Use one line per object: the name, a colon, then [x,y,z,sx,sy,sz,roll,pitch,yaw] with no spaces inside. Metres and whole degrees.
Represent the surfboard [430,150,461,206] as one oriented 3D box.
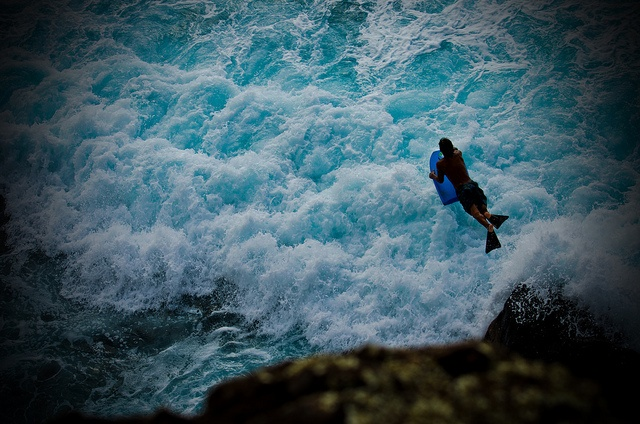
surfboard: [4.471,-1.248,20.193,0.831,2.065,0.352,-20,-24,13]
